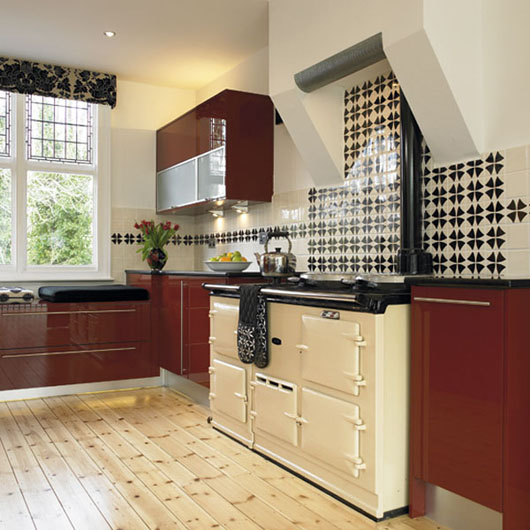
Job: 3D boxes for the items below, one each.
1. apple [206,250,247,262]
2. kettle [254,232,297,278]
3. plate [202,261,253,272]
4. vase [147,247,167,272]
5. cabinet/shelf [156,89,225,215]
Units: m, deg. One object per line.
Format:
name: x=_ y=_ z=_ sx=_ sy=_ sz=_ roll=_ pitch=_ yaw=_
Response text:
apple: x=-0.278 y=-0.062 z=3.755 sx=0.223 sy=0.076 sz=0.295 roll=1 pitch=-2 yaw=-42
kettle: x=0.053 y=-0.072 z=3.184 sx=0.325 sy=0.296 sz=0.253 roll=2 pitch=1 yaw=35
plate: x=-0.284 y=0.007 z=3.706 sx=0.344 sy=0.078 sz=0.172 roll=-1 pitch=-2 yaw=7
vase: x=-0.948 y=-0.052 z=4.330 sx=0.196 sy=0.219 sz=0.191 roll=4 pitch=-5 yaw=-36
cabinet/shelf: x=-0.665 y=-0.950 z=4.366 sx=0.427 sy=0.782 sz=1.324 roll=1 pitch=-4 yaw=-27
